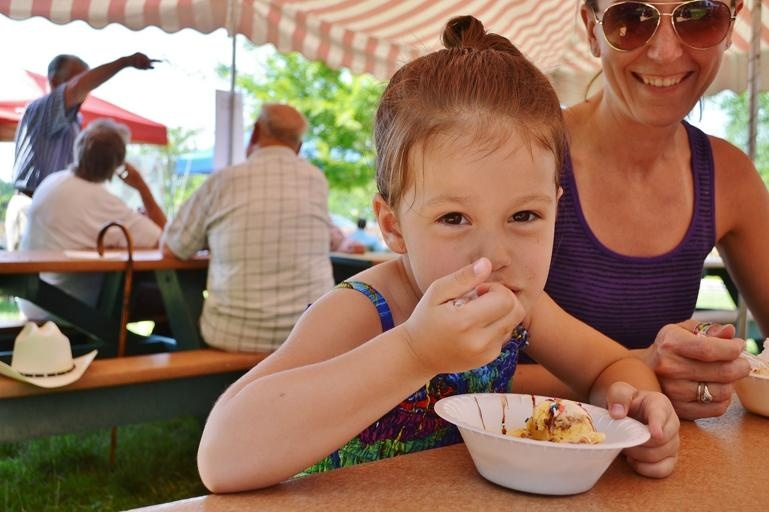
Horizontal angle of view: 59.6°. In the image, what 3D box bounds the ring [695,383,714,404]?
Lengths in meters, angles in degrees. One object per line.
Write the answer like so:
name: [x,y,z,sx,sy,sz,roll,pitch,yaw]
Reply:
ring: [1.065,0.461,2.242,0.045,0.057,0.021,4,-11,-7]
